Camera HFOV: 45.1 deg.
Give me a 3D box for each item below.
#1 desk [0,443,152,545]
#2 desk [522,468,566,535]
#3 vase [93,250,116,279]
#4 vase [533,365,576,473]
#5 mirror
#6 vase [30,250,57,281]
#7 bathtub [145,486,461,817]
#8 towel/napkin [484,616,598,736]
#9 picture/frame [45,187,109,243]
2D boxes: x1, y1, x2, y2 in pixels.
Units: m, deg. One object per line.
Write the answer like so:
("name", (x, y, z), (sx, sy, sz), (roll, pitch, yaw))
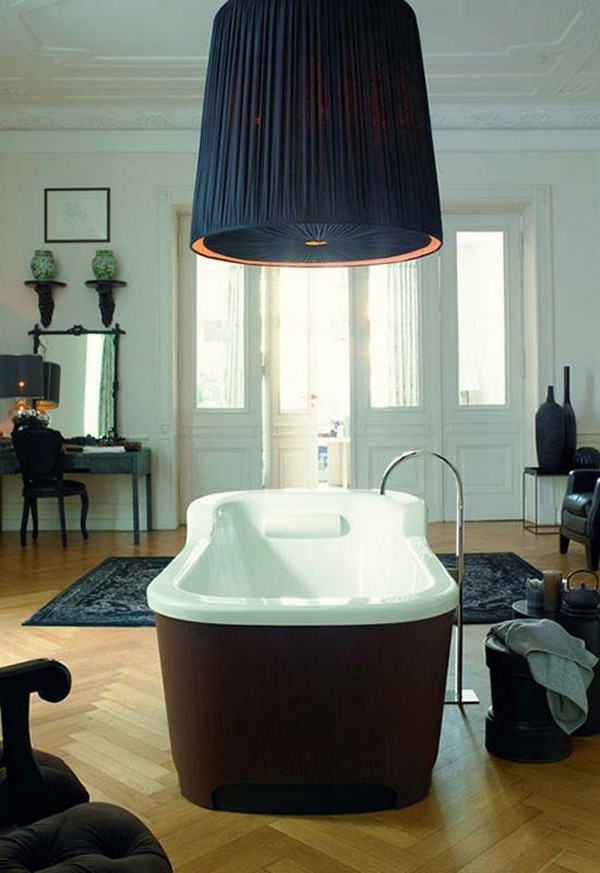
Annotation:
("desk", (-1.606, 0.574, 5.510), (1.251, 0.781, 0.707), (-1, -3, 4))
("desk", (1.898, 0.515, 5.767), (0.347, 0.410, 0.392), (11, -7, -19))
("vase", (-1.567, -1.359, 5.772), (0.191, 0.272, 0.184), (-1, 2, -12))
("vase", (1.973, -0.144, 5.544), (0.339, 0.779, 0.298), (-1, 2, 3))
("mirror", (-1.772, -0.427, 5.745), (0.978, 1.154, 0.042), (-1, 0, -3))
("vase", (-2.058, -1.355, 5.792), (0.206, 0.294, 0.244), (-2, 2, -18))
("bathtub", (0.043, 0.560, 2.182), (0.605, 0.473, 1.094), (0, 0, 1))
("towel/napkin", (0.691, 0.677, 2.075), (0.290, 0.258, 0.275), (0, 2, 20))
("picture/frame", (-1.794, -1.795, 5.852), (0.457, 0.369, 0.017), (-1, -1, 0))
